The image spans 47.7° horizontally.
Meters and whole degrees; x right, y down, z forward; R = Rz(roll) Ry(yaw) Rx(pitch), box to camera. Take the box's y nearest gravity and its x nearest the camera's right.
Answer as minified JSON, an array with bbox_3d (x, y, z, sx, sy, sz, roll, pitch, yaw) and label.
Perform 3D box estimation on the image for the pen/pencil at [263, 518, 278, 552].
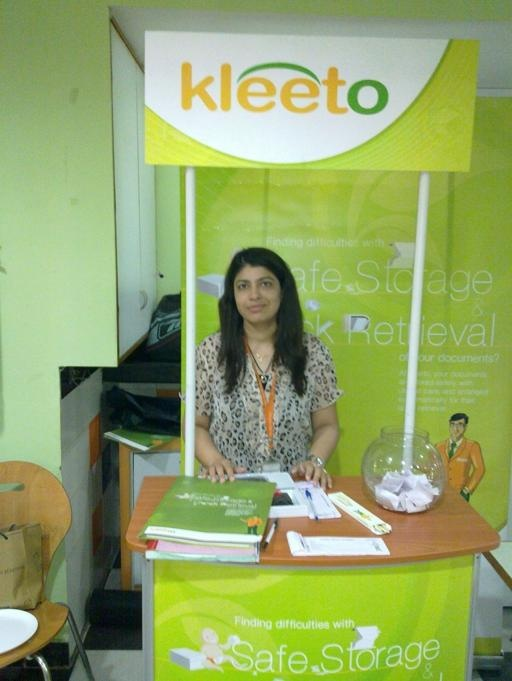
[{"bbox_3d":[0.027,0.411,1.237,0.013,0.015,0.077,7,14,8],"label":"pen/pencil"}]

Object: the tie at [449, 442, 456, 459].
[{"bbox_3d":[0.854,0.482,2.545,0.035,0.069,0.006,3,5,-2],"label":"tie"}]

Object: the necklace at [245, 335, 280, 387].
[{"bbox_3d":[0.013,0.084,1.993,0.120,0.147,0.057,5,5,9],"label":"necklace"}]

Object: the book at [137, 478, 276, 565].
[{"bbox_3d":[-0.098,0.395,1.323,0.255,0.072,0.378,5,6,6],"label":"book"}]

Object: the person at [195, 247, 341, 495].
[{"bbox_3d":[0.027,0.092,1.871,0.509,0.783,0.529,4,5,5],"label":"person"}]

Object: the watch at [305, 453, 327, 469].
[{"bbox_3d":[0.174,0.356,1.711,0.047,0.050,0.038,-28,34,-2],"label":"watch"}]
